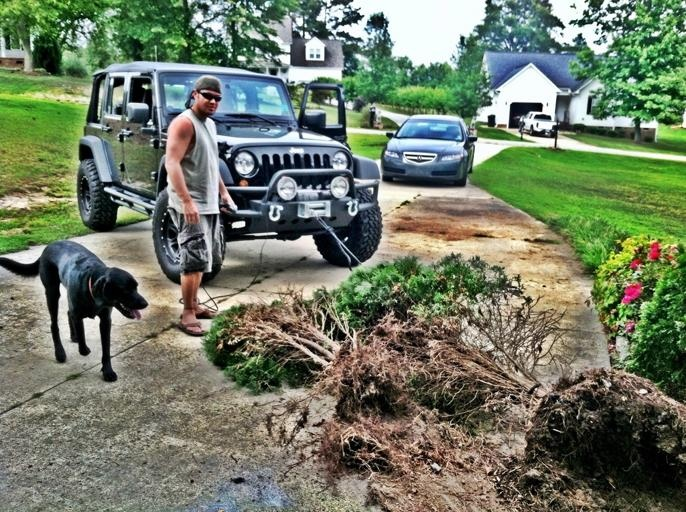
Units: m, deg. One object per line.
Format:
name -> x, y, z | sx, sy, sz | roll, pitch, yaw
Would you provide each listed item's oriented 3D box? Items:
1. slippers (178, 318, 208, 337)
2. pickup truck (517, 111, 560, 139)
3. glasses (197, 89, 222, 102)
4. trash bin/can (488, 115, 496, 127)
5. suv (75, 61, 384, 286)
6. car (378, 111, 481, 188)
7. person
slippers -> -1.451, 0.684, 5.374 | 0.160, 0.089, 0.346 | -7, 10, -41
pickup truck -> 15.549, -10.451, 44.530 | 2.065, 1.777, 4.287 | 5, 15, 6
glasses -> -1.219, -1.456, 5.113 | 0.198, 0.090, 0.089 | -2, 15, -16
trash bin/can -> 14.777, -13.343, 55.317 | 0.784, 1.077, 1.214 | 7, 15, 16
suv -> -1.767, -1.487, 7.903 | 2.798, 2.119, 4.574 | -8, 18, -38
car -> 2.495, -2.980, 16.051 | 2.475, 1.834, 2.380 | 6, 15, 13
person -> -1.414, -0.466, 5.289 | 0.463, 2.373, 0.596 | 3, 15, 1
